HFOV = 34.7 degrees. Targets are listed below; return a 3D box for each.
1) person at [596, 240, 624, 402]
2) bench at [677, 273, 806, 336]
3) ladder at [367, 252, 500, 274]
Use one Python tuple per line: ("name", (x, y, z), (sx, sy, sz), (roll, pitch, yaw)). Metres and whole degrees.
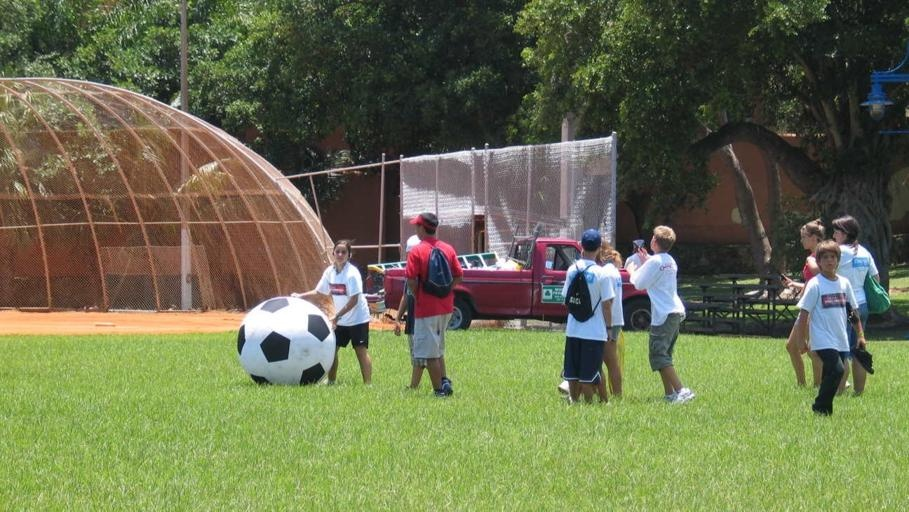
("person", (4.342, 1.918, 39.643), (0.727, 3.768, 0.915), (0, 0, 5))
("bench", (9.848, 1.911, 49.109), (2.692, 0.777, 2.590), (3, 7, 22))
("ladder", (0.083, 0.299, 49.281), (3.885, 1.260, 2.274), (-2, 0, 12))
